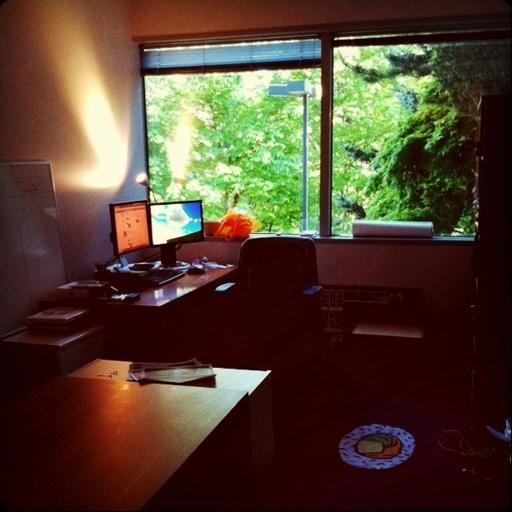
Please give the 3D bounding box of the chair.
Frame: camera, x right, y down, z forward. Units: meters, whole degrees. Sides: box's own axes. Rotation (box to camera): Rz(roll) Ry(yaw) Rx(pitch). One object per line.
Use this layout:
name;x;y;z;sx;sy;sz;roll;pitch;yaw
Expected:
chair;0.022;0.295;3.581;0.791;1.133;0.886;0;-1;24

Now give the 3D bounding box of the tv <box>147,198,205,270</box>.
tv;-0.630;-0.164;3.674;0.172;0.568;0.501;8;12;44

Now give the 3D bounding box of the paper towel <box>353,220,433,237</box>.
paper towel;1.091;-0.206;3.742;0.601;0.177;0.123;3;1;14
